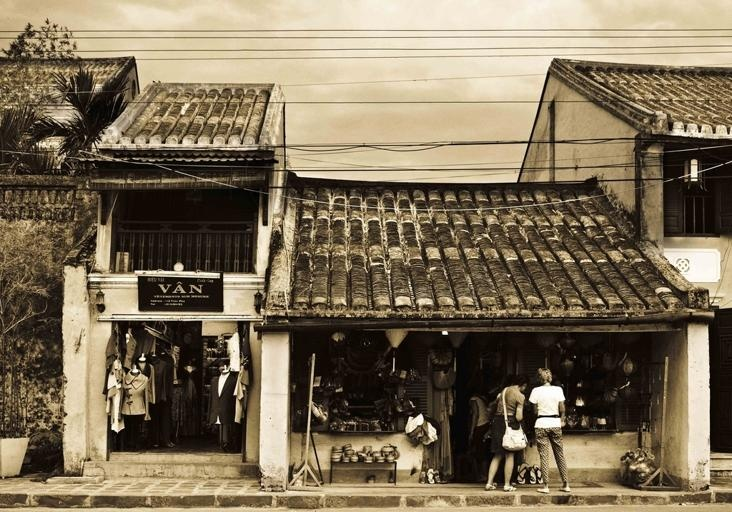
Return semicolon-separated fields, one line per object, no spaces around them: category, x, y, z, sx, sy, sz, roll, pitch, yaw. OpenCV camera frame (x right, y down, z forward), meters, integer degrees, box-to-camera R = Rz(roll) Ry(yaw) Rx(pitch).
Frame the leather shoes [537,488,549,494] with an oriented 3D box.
leather shoes;3.999;5.318;27.065;0.232;0.098;0.107;2;-2;26

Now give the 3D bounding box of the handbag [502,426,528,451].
handbag;3.352;4.141;27.127;0.626;0.596;0.346;2;-15;-15

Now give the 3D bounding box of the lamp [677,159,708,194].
lamp;7.920;-1.968;29.169;0.620;0.743;0.752;-4;-11;19

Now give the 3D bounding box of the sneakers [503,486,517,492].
sneakers;3.302;5.298;27.203;0.264;0.101;0.106;1;-3;-36

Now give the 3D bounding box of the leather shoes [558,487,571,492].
leather shoes;4.532;5.303;27.154;0.227;0.143;0.314;-2;-11;7

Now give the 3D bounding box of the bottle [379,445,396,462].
bottle;0.540;4.633;27.965;0.358;0.321;0.342;-2;-7;12
